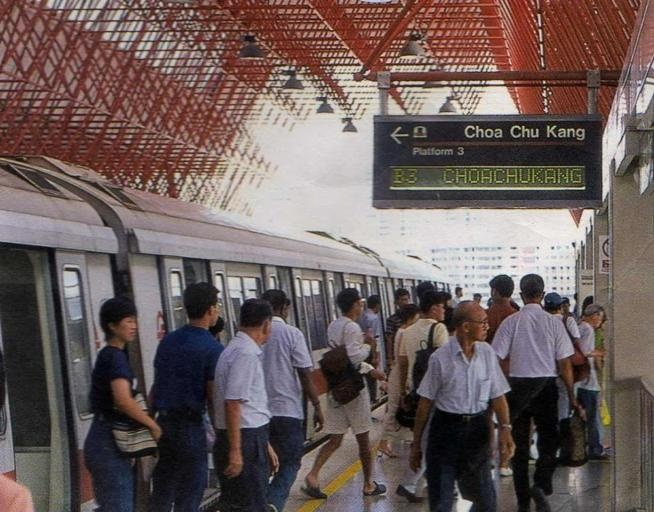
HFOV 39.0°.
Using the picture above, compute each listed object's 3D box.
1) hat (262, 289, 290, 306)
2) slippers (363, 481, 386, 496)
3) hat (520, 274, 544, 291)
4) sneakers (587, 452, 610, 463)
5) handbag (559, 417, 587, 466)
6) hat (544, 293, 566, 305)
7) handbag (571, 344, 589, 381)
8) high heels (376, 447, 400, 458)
[{"bbox_3d":[-0.481,0.370,8.544,0.205,0.127,0.190,6,8,-19],"label":"hat"},{"bbox_3d":[0.482,2.366,9.467,0.234,0.063,0.113,-2,3,-5],"label":"slippers"},{"bbox_3d":[1.934,0.242,8.731,0.217,0.159,0.142,-2,-4,8],"label":"hat"},{"bbox_3d":[2.966,2.213,10.313,0.362,0.115,0.112,-1,3,-5],"label":"sneakers"},{"bbox_3d":[2.362,1.756,8.903,0.252,0.516,0.401,-2,-4,12],"label":"handbag"},{"bbox_3d":[2.218,0.427,9.076,0.147,0.060,0.203,-2,7,29],"label":"hat"},{"bbox_3d":[2.573,1.062,9.383,0.154,0.370,0.514,-2,-4,16],"label":"handbag"},{"bbox_3d":[0.614,2.049,9.789,0.281,0.116,0.082,1,0,-5],"label":"high heels"}]
